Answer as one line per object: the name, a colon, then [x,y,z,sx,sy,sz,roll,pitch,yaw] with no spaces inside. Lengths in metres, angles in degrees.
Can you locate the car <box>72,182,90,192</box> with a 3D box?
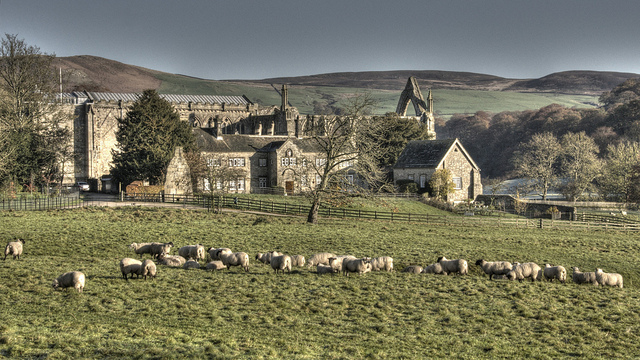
car: [-51.956,1.400,202.868,2.098,1.564,4.483,1,-6,-24]

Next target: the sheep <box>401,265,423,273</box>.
sheep: [14.214,13.650,143.604,3.066,0.930,1.177,3,13,2]
